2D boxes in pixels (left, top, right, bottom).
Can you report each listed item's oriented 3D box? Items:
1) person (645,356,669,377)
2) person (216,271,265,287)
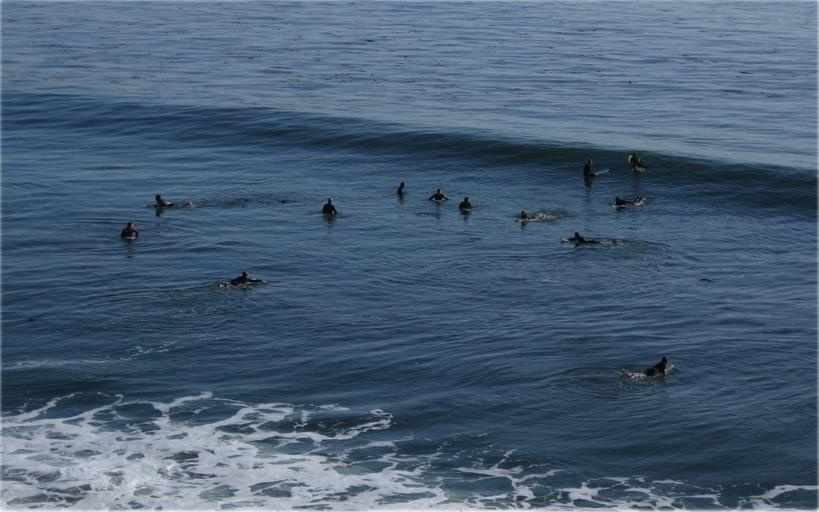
[{"bbox_3d":[16.876,7.498,83.547,1.630,1.344,0.827,2,5,9],"label":"person"},{"bbox_3d":[-12.850,1.808,93.115,3.061,0.552,1.714,1,4,30],"label":"person"}]
